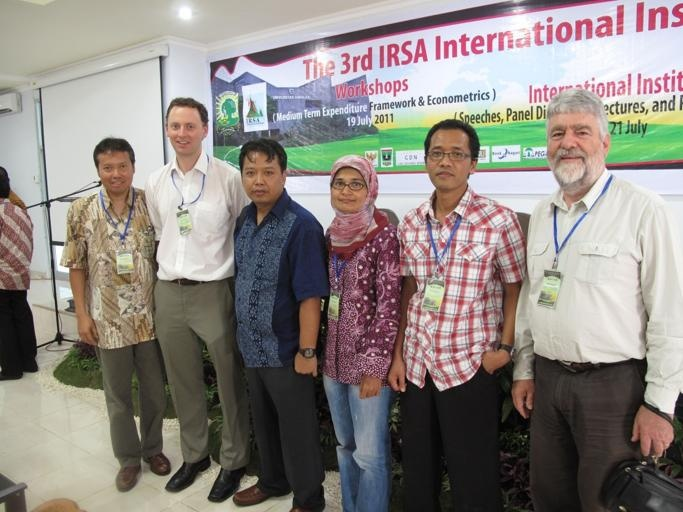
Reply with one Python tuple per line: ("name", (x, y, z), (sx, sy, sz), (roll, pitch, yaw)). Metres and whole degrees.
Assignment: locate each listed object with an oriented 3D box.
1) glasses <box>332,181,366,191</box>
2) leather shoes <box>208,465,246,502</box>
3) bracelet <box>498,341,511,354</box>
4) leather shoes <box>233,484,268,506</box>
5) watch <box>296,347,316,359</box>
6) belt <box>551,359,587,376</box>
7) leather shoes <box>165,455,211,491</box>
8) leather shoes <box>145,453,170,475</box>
("glasses", (0.031, -0.338, 2.332), (0.163, 0.049, 0.042), (-3, 12, 3))
("leather shoes", (-0.695, 1.368, 2.924), (0.095, 0.109, 0.250), (-2, 0, 17))
("bracelet", (0.735, 0.410, 2.181), (0.052, 0.040, 0.057), (22, -7, -4))
("leather shoes", (-0.534, 1.388, 2.830), (0.216, 0.087, 0.099), (5, -11, -6))
("watch", (-0.178, 0.497, 2.495), (0.072, 0.046, 0.070), (-1, -1, -2))
("belt", (0.944, 0.460, 2.002), (0.097, 0.036, 0.074), (8, -9, -33))
("leather shoes", (-0.971, 1.361, 3.066), (0.105, 0.144, 0.298), (-1, 4, 28))
("leather shoes", (-1.223, 1.352, 3.191), (0.087, 0.083, 0.200), (0, 0, -40))
